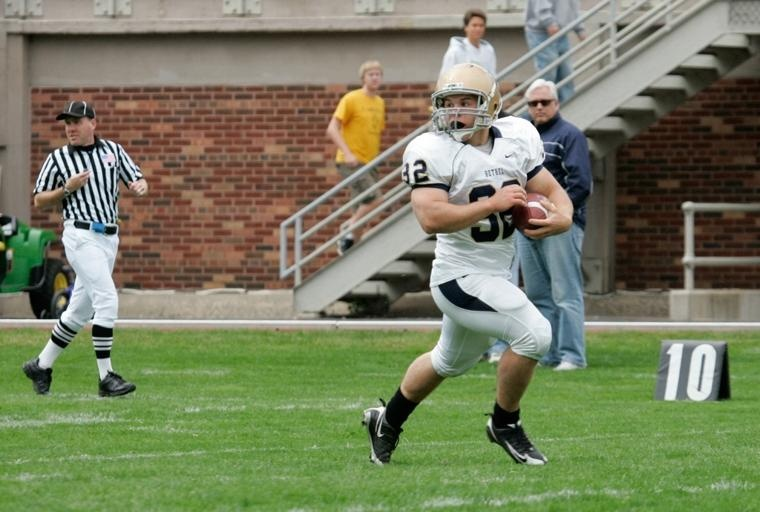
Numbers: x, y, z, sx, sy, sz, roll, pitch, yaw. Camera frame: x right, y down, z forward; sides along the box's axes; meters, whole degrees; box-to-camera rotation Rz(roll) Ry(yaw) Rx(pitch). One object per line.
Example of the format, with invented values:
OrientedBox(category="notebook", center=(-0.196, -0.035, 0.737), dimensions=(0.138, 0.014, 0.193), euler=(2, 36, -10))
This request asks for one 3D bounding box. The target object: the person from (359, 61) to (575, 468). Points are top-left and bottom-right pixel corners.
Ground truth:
OrientedBox(category="person", center=(0.874, 0.062, 15.877), dimensions=(1.687, 3.652, 0.543), euler=(2, -1, 4))

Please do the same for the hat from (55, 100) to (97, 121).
OrientedBox(category="hat", center=(-3.067, -1.530, 17.887), dimensions=(0.308, 0.198, 0.437), euler=(-2, -10, 40))

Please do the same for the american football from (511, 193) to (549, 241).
OrientedBox(category="american football", center=(1.392, -0.409, 15.914), dimensions=(0.268, 0.277, 0.288), euler=(-33, 18, -31))

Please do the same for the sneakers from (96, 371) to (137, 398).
OrientedBox(category="sneakers", center=(-2.708, 1.284, 17.614), dimensions=(0.444, 0.221, 0.193), euler=(-2, 7, 18))

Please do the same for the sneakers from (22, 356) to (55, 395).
OrientedBox(category="sneakers", center=(-3.549, 1.195, 17.867), dimensions=(0.286, 0.364, 0.292), euler=(2, -1, -9))
